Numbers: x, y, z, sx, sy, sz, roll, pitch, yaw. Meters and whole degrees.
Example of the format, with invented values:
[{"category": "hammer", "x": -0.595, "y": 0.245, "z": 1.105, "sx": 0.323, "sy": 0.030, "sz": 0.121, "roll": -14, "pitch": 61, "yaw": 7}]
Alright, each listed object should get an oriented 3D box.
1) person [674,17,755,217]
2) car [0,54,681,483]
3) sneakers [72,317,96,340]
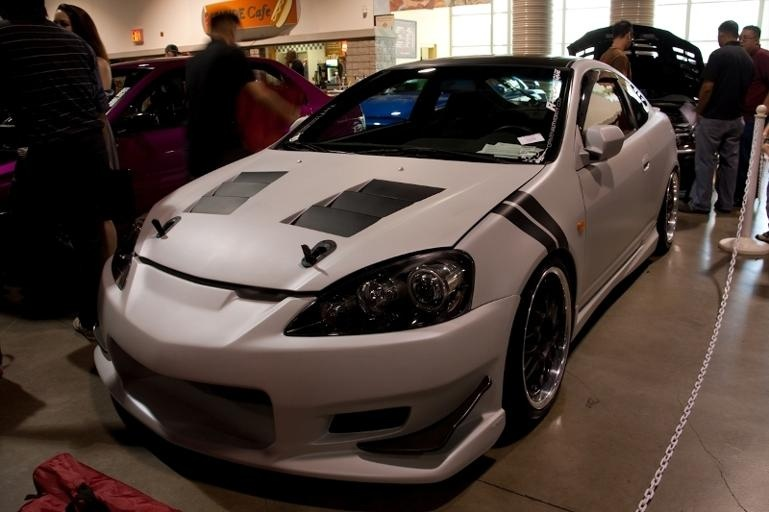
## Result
[{"category": "person", "x": 3.808, "y": -1.432, "z": 5.563, "sx": 0.544, "sy": 1.783, "sz": 0.644, "roll": 12, "pitch": 24, "yaw": 31}, {"category": "car", "x": 0.474, "y": -0.157, "z": 3.080, "sx": 2.013, "sy": 1.271, "sz": 3.593, "roll": 15, "pitch": 30, "yaw": 32}, {"category": "sneakers", "x": -1.982, "y": 0.464, "z": 3.217, "sx": 0.178, "sy": 0.073, "sz": 0.072, "roll": 42, "pitch": 35, "yaw": -4}]
